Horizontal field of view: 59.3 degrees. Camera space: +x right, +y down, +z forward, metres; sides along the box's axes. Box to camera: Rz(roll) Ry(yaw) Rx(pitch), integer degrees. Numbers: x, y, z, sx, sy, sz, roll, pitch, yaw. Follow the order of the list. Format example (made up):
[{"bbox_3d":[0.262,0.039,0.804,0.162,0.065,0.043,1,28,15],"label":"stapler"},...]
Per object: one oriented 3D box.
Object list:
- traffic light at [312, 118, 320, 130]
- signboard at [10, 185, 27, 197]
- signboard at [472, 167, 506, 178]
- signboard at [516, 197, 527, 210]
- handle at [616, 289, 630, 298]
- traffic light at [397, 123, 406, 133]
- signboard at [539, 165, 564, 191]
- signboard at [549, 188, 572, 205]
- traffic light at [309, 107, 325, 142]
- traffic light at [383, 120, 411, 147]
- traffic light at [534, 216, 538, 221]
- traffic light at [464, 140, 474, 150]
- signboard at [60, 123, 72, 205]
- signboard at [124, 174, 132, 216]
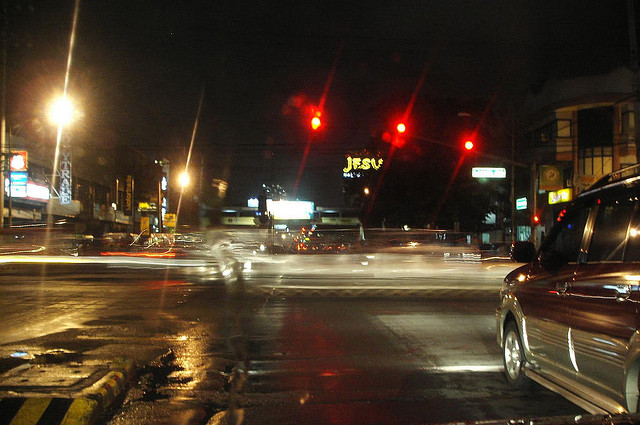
[{"bbox_3d":[-0.165,-2.983,18.849,0.221,0.294,0.188,22,-8,-9],"label":"traffic light"},{"bbox_3d":[-21.514,-1.578,40.089,0.937,0.798,0.924,1,0,-21],"label":"signboard"},{"bbox_3d":[12.618,-3.037,42.272,2.927,0.832,0.998,1,0,-28],"label":"signboard"},{"bbox_3d":[19.502,-0.921,54.371,0.803,1.029,2.330,1,0,12],"label":"signboard"},{"bbox_3d":[3.524,0.939,6.553,0.086,0.088,0.086,2,-4,-17],"label":"handle"},{"bbox_3d":[2.824,-2.980,19.708,0.244,0.306,0.427,1,0,8],"label":"traffic light"},{"bbox_3d":[16.820,-2.550,41.471,1.755,1.742,1.712,0,-1,4],"label":"signboard"},{"bbox_3d":[17.416,-1.210,40.658,1.042,0.698,3.127,1,0,9],"label":"signboard"},{"bbox_3d":[-0.143,-3.078,18.968,0.320,0.834,0.325,-6,-33,18],"label":"traffic light"},{"bbox_3d":[2.781,-2.816,20.369,0.954,0.816,1.720,1,0,9],"label":"traffic light"},{"bbox_3d":[14.135,0.410,36.899,0.295,0.208,0.134,1,0,-45],"label":"traffic light"},{"bbox_3d":[6.083,-2.788,23.019,0.352,0.365,0.467,1,0,12],"label":"traffic light"},{"bbox_3d":[-22.470,-4.359,49.507,0.909,7.265,2.622,0,1,-25],"label":"signboard"},{"bbox_3d":[-23.956,-2.243,69.951,0.914,5.219,5.207,1,0,-20],"label":"signboard"}]
